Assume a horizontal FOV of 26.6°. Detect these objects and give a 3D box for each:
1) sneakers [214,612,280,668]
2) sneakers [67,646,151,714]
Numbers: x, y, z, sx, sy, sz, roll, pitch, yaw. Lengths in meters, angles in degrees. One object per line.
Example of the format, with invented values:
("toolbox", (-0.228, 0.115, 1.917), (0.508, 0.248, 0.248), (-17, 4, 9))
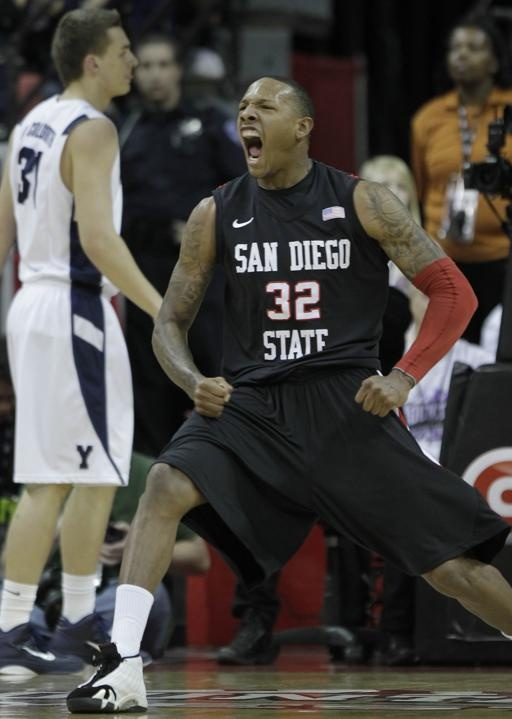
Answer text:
("sneakers", (-0.025, 0.827, 3.250), (0.208, 0.193, 0.088), (5, -2, -36))
("sneakers", (-0.266, 0.591, 1.996), (0.204, 0.144, 0.080), (16, -26, -36))
